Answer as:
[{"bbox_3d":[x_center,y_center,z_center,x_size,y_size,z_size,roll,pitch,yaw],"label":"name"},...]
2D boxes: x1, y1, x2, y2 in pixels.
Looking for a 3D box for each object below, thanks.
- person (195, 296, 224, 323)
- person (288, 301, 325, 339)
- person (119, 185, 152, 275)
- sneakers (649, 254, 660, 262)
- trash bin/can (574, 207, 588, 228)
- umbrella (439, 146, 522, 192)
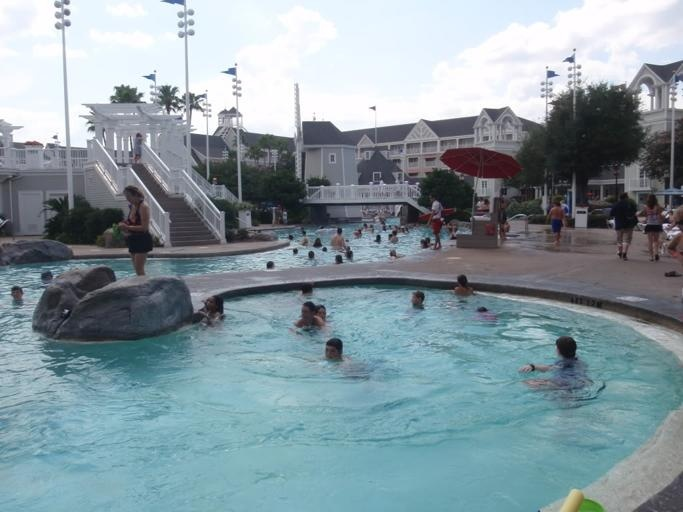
[{"bbox_3d":[-2.565,1.098,11.968,0.762,0.531,0.407,-1,-12,17],"label":"person"},{"bbox_3d":[-0.644,1.264,11.757,0.903,0.610,0.528,-1,-9,19],"label":"person"},{"bbox_3d":[-3.937,-0.411,11.640,0.529,1.923,1.294,-5,14,-19],"label":"person"},{"bbox_3d":[9.245,0.057,17.841,0.210,0.250,0.631,-3,-2,25],"label":"sneakers"},{"bbox_3d":[15.042,-2.447,37.887,0.767,1.312,1.328,5,14,21],"label":"trash bin/can"},{"bbox_3d":[5.473,-3.622,23.647,2.713,1.293,2.730,3,13,15],"label":"umbrella"}]
